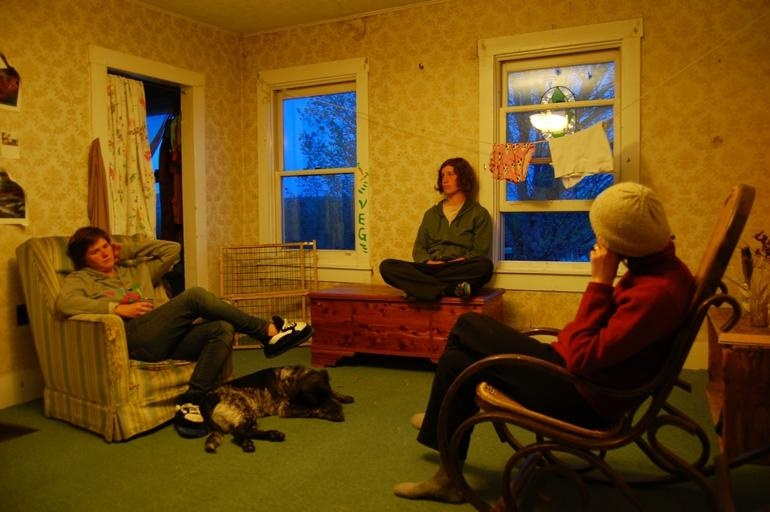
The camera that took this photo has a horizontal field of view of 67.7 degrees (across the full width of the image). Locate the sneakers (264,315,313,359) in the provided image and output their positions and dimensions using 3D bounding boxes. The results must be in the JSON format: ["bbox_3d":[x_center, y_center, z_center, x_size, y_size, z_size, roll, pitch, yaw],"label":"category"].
[{"bbox_3d":[-0.697,0.573,4.343,0.432,0.273,0.217,-21,9,-14],"label":"sneakers"}]

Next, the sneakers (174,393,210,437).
[{"bbox_3d":[-1.313,1.057,3.880,0.205,0.291,0.264,-7,16,-21],"label":"sneakers"}]

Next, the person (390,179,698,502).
[{"bbox_3d":[0.895,0.504,2.987,1.233,1.745,0.542,4,16,21],"label":"person"}]

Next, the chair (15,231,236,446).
[{"bbox_3d":[-2.012,0.555,4.625,1.545,1.366,1.272,2,1,36],"label":"chair"}]

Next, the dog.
[{"bbox_3d":[-0.736,1.001,4.064,1.187,0.302,0.591,-9,22,-42],"label":"dog"}]

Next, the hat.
[{"bbox_3d":[1.208,-0.164,2.821,0.372,0.347,0.196,18,-15,15],"label":"hat"}]

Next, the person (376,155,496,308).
[{"bbox_3d":[0.515,-0.224,5.244,1.187,1.478,0.941,-7,-20,34],"label":"person"}]
